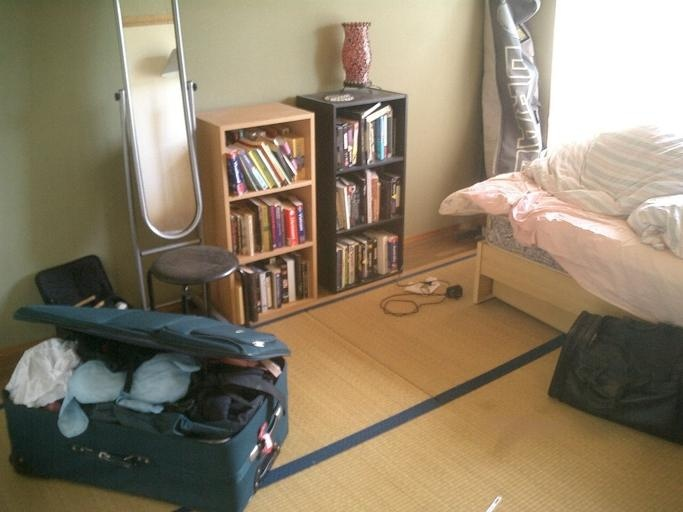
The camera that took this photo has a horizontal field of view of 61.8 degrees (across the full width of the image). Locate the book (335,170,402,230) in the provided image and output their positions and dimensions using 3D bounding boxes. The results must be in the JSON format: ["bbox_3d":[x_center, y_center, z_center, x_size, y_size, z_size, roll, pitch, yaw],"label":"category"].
[{"bbox_3d":[0.144,-0.350,3.434,0.334,0.251,0.185,-12,27,-32],"label":"book"}]

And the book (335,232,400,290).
[{"bbox_3d":[0.138,0.027,3.526,0.337,0.179,0.129,-13,26,-32],"label":"book"}]

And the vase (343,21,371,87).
[{"bbox_3d":[0.079,-1.158,3.298,0.159,0.347,0.104,-2,27,-1],"label":"vase"}]

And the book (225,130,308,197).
[{"bbox_3d":[-0.438,-0.509,3.041,0.383,0.293,0.242,-8,26,-14],"label":"book"}]

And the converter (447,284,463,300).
[{"bbox_3d":[0.662,0.209,3.375,0.095,0.081,0.069,-16,68,6],"label":"converter"}]

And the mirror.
[{"bbox_3d":[-0.871,-0.626,2.751,0.358,1.111,0.256,-13,29,-21],"label":"mirror"}]

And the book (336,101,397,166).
[{"bbox_3d":[0.125,-0.719,3.309,0.224,0.285,0.309,23,34,33],"label":"book"}]
